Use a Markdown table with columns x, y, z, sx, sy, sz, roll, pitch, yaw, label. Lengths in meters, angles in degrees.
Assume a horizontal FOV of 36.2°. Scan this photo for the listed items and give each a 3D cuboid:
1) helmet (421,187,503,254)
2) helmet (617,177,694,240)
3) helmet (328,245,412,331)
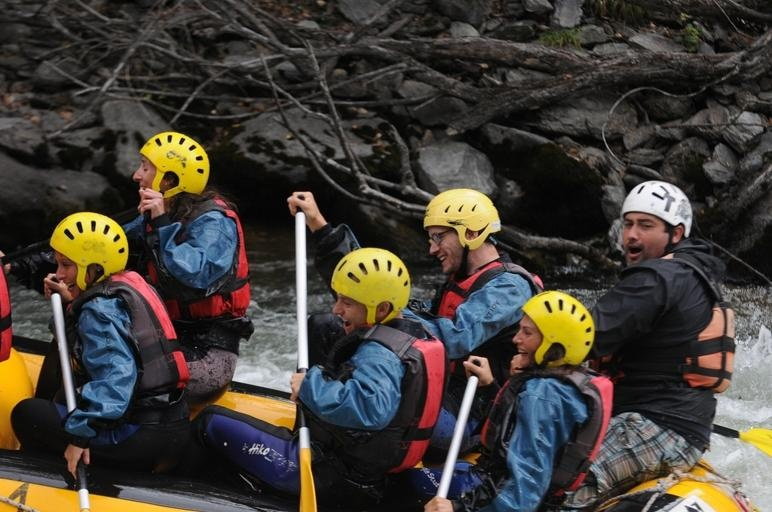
| x | y | z | sx | sy | sz | roll | pitch | yaw | label |
| --- | --- | --- | --- | --- | --- | --- | --- | --- | --- |
| 0.698 | -0.350 | 10.352 | 0.644 | 0.469 | 0.465 | -18 | 6 | 6 | helmet |
| 2.367 | -0.369 | 10.317 | 0.563 | 0.446 | 0.426 | 34 | -5 | -2 | helmet |
| -0.217 | 0.219 | 9.665 | 0.716 | 0.552 | 0.496 | -16 | 15 | -4 | helmet |
